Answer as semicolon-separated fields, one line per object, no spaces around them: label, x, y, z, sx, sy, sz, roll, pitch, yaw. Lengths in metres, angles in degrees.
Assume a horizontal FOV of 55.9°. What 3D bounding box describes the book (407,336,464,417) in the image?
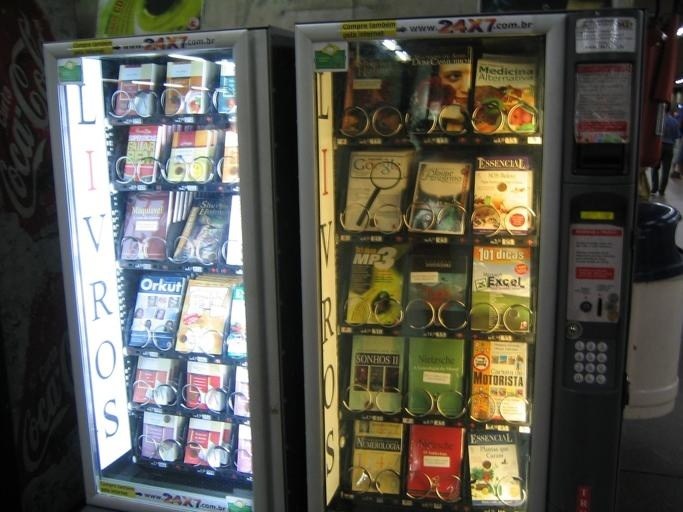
book;0.417;0.541;2.818;0.300;0.449;0.229;1;-9;5

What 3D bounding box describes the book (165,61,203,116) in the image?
book;-0.721;-0.746;2.961;0.181;0.250;0.140;0;-8;-8

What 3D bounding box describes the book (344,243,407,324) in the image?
book;0.154;0.134;2.835;0.323;0.549;0.059;2;-20;5

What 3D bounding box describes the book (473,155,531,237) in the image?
book;0.677;-0.256;2.693;0.253;0.279;0.226;2;20;11

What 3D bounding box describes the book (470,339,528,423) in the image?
book;0.676;0.537;2.748;0.240;0.287;0.186;2;20;11

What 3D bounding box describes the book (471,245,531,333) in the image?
book;0.678;0.139;2.717;0.250;0.305;0.201;2;20;11

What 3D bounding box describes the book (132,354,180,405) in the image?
book;-0.886;0.590;3.040;0.228;0.182;0.140;1;20;8

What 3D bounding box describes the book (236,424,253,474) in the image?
book;-0.460;0.891;2.977;0.078;0.204;0.141;-6;20;-11

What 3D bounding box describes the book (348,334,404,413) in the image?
book;0.157;0.532;2.841;0.320;0.440;0.046;2;-14;6

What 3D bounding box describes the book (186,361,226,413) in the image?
book;-0.628;0.617;2.996;0.220;0.299;0.038;4;-12;8

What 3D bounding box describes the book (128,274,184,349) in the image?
book;-0.887;0.177;3.081;0.271;0.341;0.074;-20;61;-26

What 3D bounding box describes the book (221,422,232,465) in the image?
book;-0.539;0.881;2.985;0.036;0.158;0.112;9;-7;-19

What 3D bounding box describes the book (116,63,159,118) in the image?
book;-0.950;-0.788;2.962;0.198;0.281;0.102;-9;49;-24

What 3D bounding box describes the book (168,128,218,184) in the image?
book;-0.689;-0.457;2.941;0.239;0.256;0.059;-2;-8;12

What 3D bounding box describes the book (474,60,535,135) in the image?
book;0.682;-0.648;2.667;0.313;0.393;0.030;3;-13;5

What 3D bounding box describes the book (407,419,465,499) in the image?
book;0.419;0.921;2.872;0.243;0.073;0.333;2;45;7

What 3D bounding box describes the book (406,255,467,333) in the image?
book;0.417;0.177;2.818;0.266;0.380;0.037;-1;-33;13

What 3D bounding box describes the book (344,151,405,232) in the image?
book;0.149;-0.269;2.800;0.306;0.439;0.047;5;-11;8

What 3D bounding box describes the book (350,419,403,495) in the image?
book;0.164;0.900;2.894;0.175;0.315;0.025;-2;-13;5

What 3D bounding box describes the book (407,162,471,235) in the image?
book;0.419;-0.259;2.768;0.261;0.254;0.191;2;20;11

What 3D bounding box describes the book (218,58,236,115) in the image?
book;-0.508;-0.766;2.899;0.134;0.221;0.116;-2;13;-19

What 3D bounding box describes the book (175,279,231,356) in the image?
book;-0.631;0.287;2.985;0.241;0.341;0.018;4;-19;4

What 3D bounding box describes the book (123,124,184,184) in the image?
book;-0.872;-0.465;2.963;0.219;0.301;0.169;9;-6;6

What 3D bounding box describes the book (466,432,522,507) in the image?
book;0.667;0.924;2.790;0.229;0.255;0.183;0;20;6

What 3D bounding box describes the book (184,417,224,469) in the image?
book;-0.643;0.871;3.033;0.175;0.236;0.025;6;8;-8

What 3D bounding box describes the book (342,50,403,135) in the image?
book;0.128;-0.687;2.807;0.241;0.359;0.082;2;2;-2

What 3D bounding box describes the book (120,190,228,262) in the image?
book;-0.778;-0.138;2.985;0.537;0.271;0.279;3;20;13
